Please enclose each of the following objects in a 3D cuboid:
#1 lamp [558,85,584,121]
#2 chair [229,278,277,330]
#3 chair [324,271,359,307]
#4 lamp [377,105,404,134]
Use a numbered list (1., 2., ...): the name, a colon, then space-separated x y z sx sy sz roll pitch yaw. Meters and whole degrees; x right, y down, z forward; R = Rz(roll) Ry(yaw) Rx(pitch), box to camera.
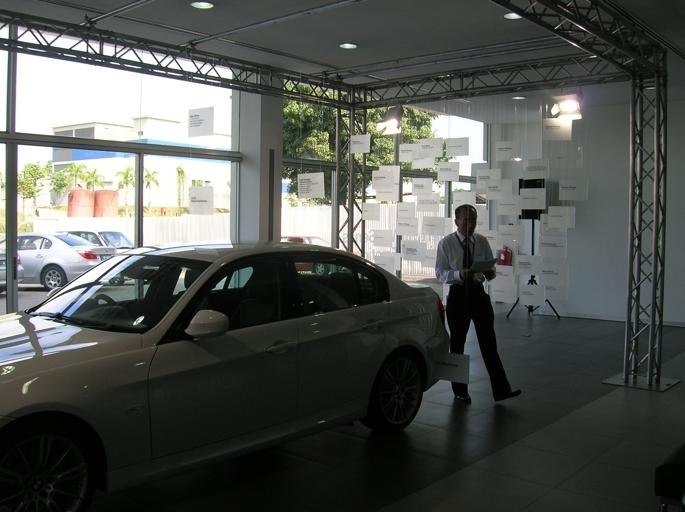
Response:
1. lamp: 3.782 -2.594 8.532 0.473 0.644 0.503 1 0 20
2. chair: -0.650 0.346 3.787 0.302 0.348 0.426 2 -1 2
3. chair: -0.023 0.293 4.337 0.215 0.371 0.203 -12 11 -9
4. lamp: 0.944 -2.666 9.995 0.448 0.528 0.560 2 3 3
